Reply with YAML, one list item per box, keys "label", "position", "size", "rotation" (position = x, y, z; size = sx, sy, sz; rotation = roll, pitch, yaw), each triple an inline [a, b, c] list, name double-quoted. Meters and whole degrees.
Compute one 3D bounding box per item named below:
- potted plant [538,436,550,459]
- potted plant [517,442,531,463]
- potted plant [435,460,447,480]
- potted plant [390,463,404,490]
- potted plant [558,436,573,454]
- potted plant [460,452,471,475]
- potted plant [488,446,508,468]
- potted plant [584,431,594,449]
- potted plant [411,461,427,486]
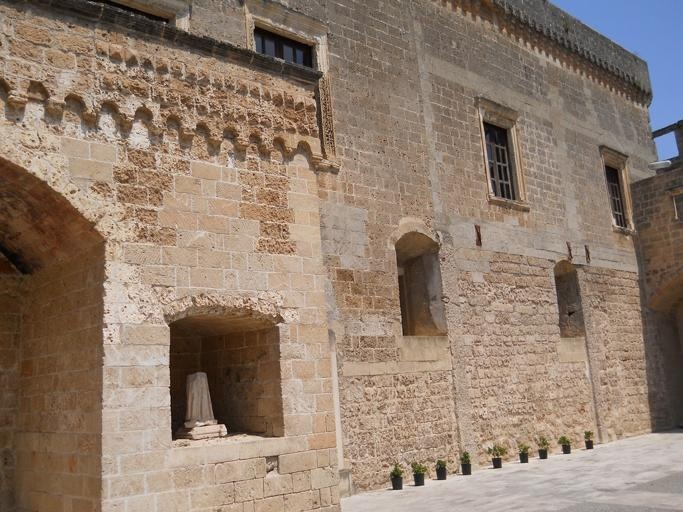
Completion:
- label: "potted plant"
  position: [4.239, 4.006, 14.096]
  size: [0.232, 0.463, 0.470]
  rotation: [-10, -19, 14]
- label: "potted plant"
  position: [3.695, 3.979, 13.646]
  size: [0.360, 0.415, 0.336]
  rotation: [1, -9, 14]
- label: "potted plant"
  position: [1.825, 3.902, 12.257]
  size: [0.215, 0.343, 0.381]
  rotation: [-8, -19, 7]
- label: "potted plant"
  position: [0.964, 3.794, 11.582]
  size: [0.247, 0.442, 0.436]
  rotation: [-6, -19, 2]
- label: "potted plant"
  position: [4.813, 4.101, 14.610]
  size: [0.368, 0.346, 0.320]
  rotation: [-11, -19, 41]
- label: "potted plant"
  position: [2.343, 3.884, 12.630]
  size: [0.206, 0.434, 0.310]
  rotation: [-8, -19, 9]
- label: "potted plant"
  position: [3.086, 3.947, 13.259]
  size: [0.338, 0.464, 0.674]
  rotation: [-9, -19, 11]
- label: "potted plant"
  position: [5.620, 4.167, 15.215]
  size: [0.223, 0.426, 0.745]
  rotation: [-12, -20, 17]
- label: "potted plant"
  position: [1.344, 3.780, 11.667]
  size: [0.382, 0.386, 0.328]
  rotation: [-11, -20, 41]
